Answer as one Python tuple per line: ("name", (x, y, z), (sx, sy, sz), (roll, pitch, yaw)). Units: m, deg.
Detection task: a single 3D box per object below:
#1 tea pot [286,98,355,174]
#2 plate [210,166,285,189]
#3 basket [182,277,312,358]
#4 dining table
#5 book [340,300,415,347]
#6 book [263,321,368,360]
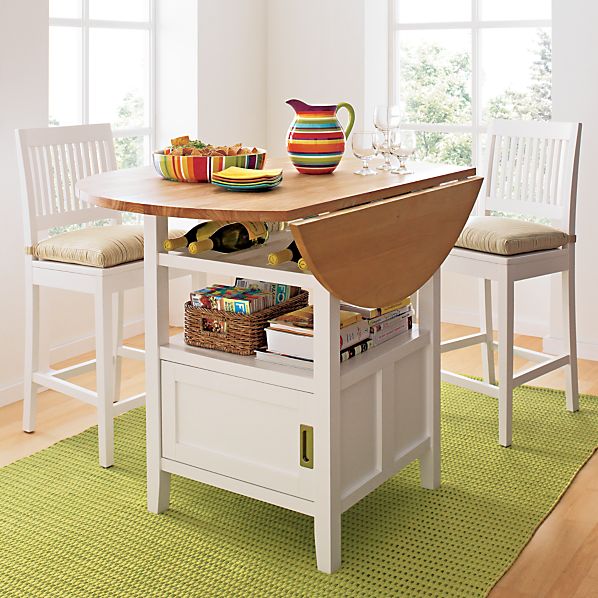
("tea pot", (0.069, -0.443, 1.682), (0.214, 0.187, 0.164), (-4, 12, -20))
("plate", (-0.137, -0.284, 1.430), (0.225, 0.059, 0.138), (10, 14, 44))
("basket", (-0.141, 0.037, 1.539), (0.179, 0.098, 0.249), (6, 10, 28))
("dining table", (-0.072, 0.119, 1.616), (0.742, 0.917, 0.850), (7, 12, 34))
("book", (0.232, 0.055, 1.583), (0.137, 0.045, 0.146), (-12, 17, -35))
("book", (0.031, 0.088, 1.432), (0.168, 0.067, 0.257), (6, 12, 33))
